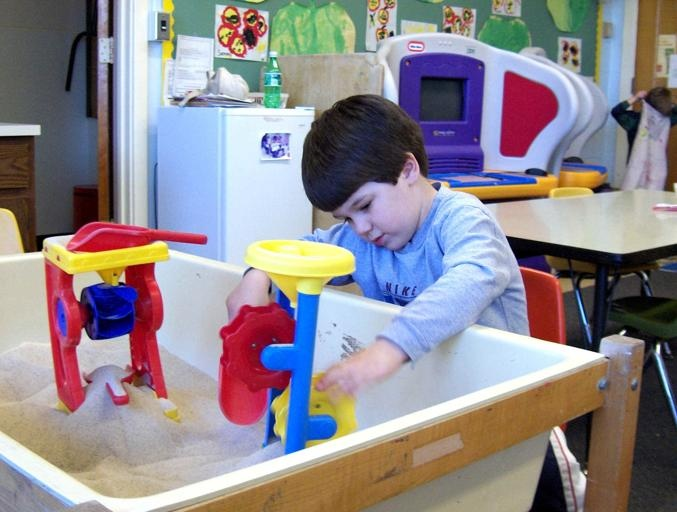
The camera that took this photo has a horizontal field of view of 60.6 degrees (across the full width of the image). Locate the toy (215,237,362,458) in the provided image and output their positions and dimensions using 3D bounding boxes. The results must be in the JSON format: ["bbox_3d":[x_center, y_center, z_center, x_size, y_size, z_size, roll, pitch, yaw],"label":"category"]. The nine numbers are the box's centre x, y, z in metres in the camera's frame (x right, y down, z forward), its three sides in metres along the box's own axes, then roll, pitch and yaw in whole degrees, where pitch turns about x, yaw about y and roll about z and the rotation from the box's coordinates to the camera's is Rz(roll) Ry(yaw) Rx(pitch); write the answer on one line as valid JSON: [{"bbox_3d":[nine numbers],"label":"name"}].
[{"bbox_3d":[-0.061,0.136,0.712,0.187,0.306,0.152,7,13,30],"label":"toy"}]

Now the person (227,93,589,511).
[{"bbox_3d":[0.094,0.066,1.266,0.649,0.985,0.647,-3,2,-32],"label":"person"}]

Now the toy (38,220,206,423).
[{"bbox_3d":[-0.370,0.067,1.089,0.327,0.416,0.245,-8,15,-38],"label":"toy"}]
